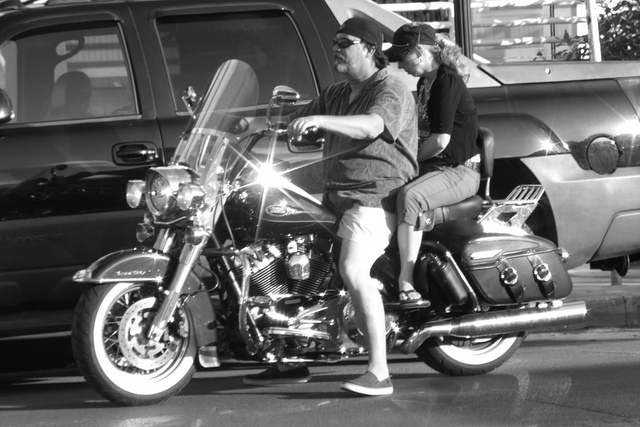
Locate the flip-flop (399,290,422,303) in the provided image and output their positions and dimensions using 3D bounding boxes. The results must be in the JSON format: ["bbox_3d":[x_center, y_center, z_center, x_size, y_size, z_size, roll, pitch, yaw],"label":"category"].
[{"bbox_3d":[0.664,0.602,4.770,0.116,0.045,0.090,-4,41,-2],"label":"flip-flop"}]

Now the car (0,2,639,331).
[{"bbox_3d":[-0.112,-0.703,5.662,4.681,1.805,2.660,-1,1,-15],"label":"car"}]
